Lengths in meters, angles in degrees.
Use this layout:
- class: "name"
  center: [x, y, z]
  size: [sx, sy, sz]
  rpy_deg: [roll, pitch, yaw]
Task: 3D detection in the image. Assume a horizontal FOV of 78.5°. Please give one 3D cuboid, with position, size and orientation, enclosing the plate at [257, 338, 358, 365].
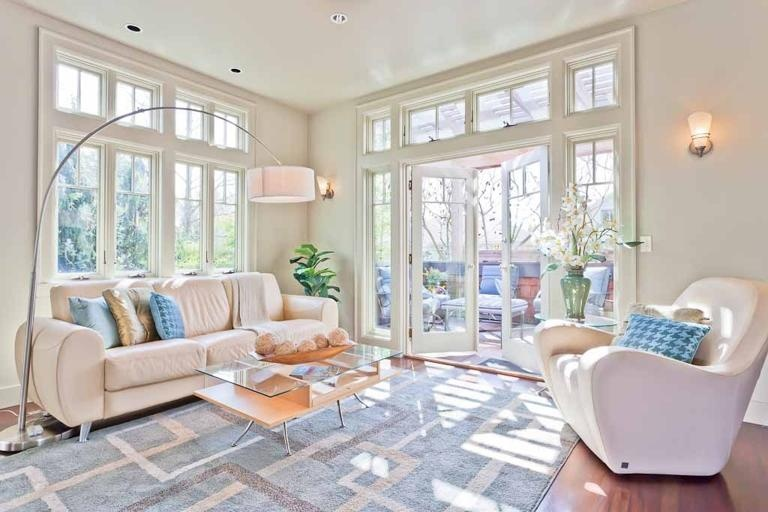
- class: "plate"
  center: [-0.617, 0.833, 4.063]
  size: [0.612, 0.075, 0.228]
  rpy_deg: [-1, -2, -40]

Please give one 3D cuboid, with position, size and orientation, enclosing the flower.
- class: "flower"
  center: [1.977, -0.297, 4.956]
  size: [1.012, 0.878, 0.918]
  rpy_deg: [-2, 3, 2]

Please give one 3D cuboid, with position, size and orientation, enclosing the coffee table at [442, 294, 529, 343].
- class: "coffee table"
  center: [1.757, 0.863, 7.333]
  size: [0.976, 0.584, 0.961]
  rpy_deg: [1, 3, 30]

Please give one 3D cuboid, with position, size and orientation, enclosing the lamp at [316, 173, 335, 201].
- class: "lamp"
  center: [-0.838, -0.964, 6.716]
  size: [0.252, 0.328, 0.168]
  rpy_deg: [-2, 4, -7]

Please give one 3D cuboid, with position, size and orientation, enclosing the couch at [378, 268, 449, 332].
- class: "couch"
  center: [0.421, 0.537, 6.472]
  size: [0.777, 0.729, 1.422]
  rpy_deg: [-1, -1, 33]

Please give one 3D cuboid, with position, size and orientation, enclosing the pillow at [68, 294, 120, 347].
- class: "pillow"
  center: [-2.639, 0.603, 4.265]
  size: [0.256, 0.395, 0.474]
  rpy_deg: [-7, 2, -2]

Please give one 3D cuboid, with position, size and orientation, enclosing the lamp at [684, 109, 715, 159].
- class: "lamp"
  center: [2.992, -1.141, 4.447]
  size: [0.195, 0.417, 0.100]
  rpy_deg: [1, 5, 32]

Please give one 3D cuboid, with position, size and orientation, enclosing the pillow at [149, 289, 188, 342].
- class: "pillow"
  center: [-2.181, 0.614, 4.708]
  size: [0.226, 0.372, 0.483]
  rpy_deg: [-3, 6, -4]

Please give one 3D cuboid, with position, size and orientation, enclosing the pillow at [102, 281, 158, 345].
- class: "pillow"
  center: [-2.413, 0.567, 4.509]
  size: [0.166, 0.503, 0.544]
  rpy_deg: [-34, -16, 13]
